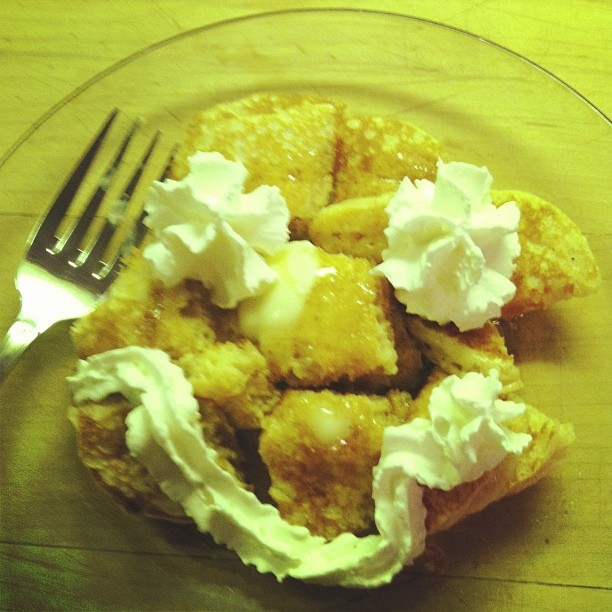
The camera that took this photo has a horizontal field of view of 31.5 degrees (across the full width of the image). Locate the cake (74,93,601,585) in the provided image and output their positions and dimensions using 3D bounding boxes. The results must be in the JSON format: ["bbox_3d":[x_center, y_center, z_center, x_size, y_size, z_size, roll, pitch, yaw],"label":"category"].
[{"bbox_3d":[-0.012,0.020,1.436,0.652,0.232,0.687,-26,70,-14],"label":"cake"}]

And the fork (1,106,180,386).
[{"bbox_3d":[-0.283,-0.075,1.471,0.072,0.050,0.421,30,85,10],"label":"fork"}]
